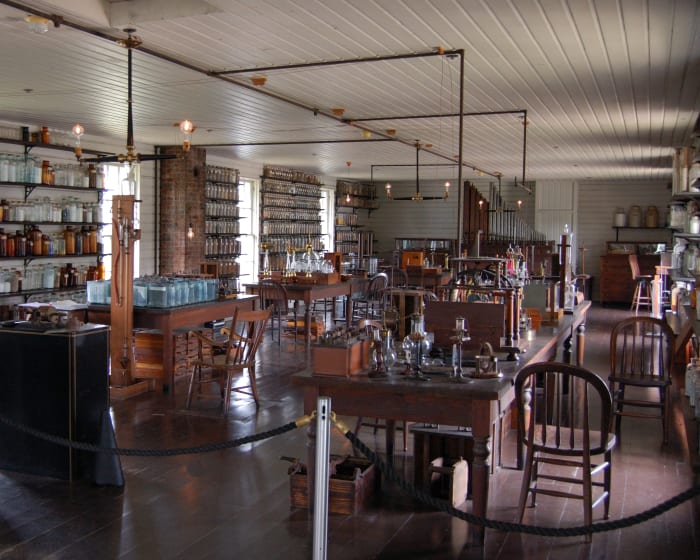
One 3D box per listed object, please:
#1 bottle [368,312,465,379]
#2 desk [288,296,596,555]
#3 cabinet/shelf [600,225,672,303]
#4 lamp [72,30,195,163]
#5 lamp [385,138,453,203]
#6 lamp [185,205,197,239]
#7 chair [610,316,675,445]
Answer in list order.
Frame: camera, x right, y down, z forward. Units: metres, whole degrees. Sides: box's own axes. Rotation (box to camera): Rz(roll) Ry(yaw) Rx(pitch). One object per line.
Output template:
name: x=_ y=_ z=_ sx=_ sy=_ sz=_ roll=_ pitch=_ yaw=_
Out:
bottle: x=0.437 y=0.387 z=3.553 sx=0.262 sy=0.370 sz=0.813 roll=3 pitch=4 yaw=13
desk: x=0.789 y=0.814 z=3.811 sx=1.047 sy=1.117 sz=2.261 roll=2 pitch=4 yaw=40
cabinet/shelf: x=7.691 y=-0.400 z=15.678 sx=1.867 sy=2.118 sz=1.849 roll=1 pitch=3 yaw=24
lamp: x=-2.555 y=-2.089 z=6.621 sx=1.602 sy=1.308 sz=1.303 roll=1 pitch=6 yaw=7
lamp: x=1.826 y=-2.632 z=15.315 sx=2.000 sy=1.502 sz=1.858 roll=0 pitch=0 yaw=-2
lamp: x=-3.114 y=-1.106 z=11.078 sx=0.146 sy=0.639 sz=0.284 roll=-1 pitch=3 yaw=-7
chair: x=2.475 y=0.815 z=4.911 sx=0.562 sy=0.940 sz=0.527 roll=0 pitch=1 yaw=40
